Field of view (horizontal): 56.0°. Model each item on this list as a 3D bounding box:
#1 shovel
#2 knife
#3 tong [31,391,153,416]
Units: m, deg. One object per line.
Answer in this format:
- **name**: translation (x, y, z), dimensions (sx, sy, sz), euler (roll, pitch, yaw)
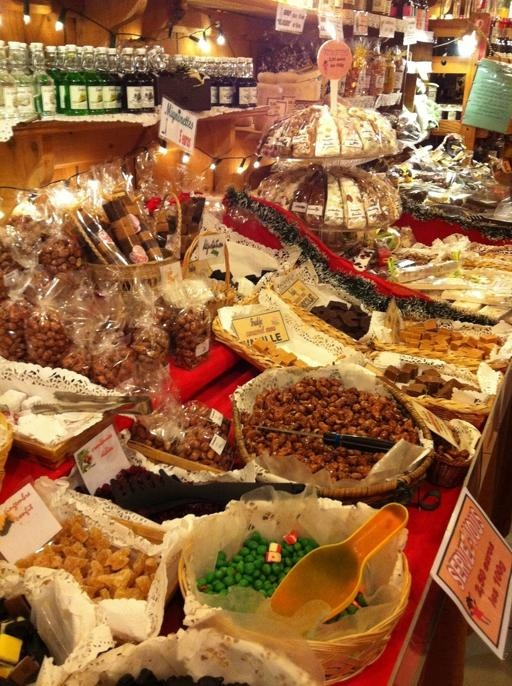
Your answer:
- **shovel**: translation (0.195, 0.407, 0.924), dimensions (0.351, 0.057, 0.116), euler (-36, 45, -17)
- **knife**: translation (0.178, 0.257, 1.283), dimensions (0.387, 0.045, 0.043), euler (5, 2, 10)
- **tong**: translation (-0.413, 0.151, 1.199), dimensions (0.301, 0.068, 0.063), euler (-1, 5, -3)
